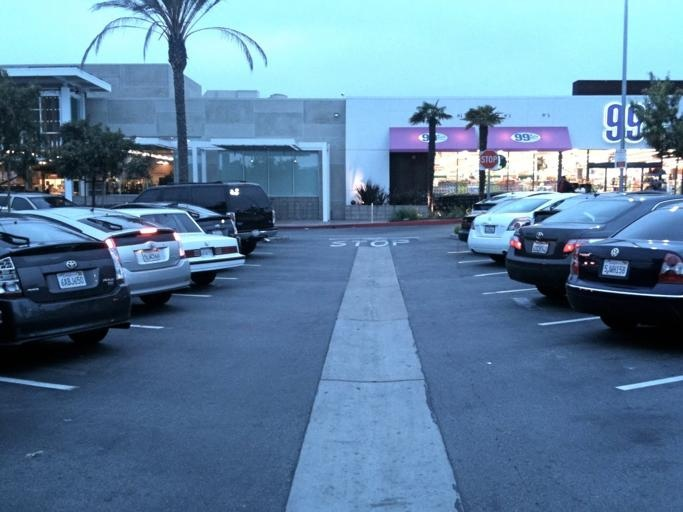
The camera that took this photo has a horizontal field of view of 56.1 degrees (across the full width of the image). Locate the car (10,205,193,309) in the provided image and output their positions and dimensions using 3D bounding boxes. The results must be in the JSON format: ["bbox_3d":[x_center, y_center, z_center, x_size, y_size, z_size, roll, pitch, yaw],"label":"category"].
[{"bbox_3d":[-4.281,-0.028,11.208,2.997,1.055,1.438,9,9,32],"label":"car"}]

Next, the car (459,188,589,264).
[{"bbox_3d":[4.840,-0.746,16.555,3.078,1.012,1.376,-10,9,-40],"label":"car"}]

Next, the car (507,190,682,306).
[{"bbox_3d":[4.518,-0.236,11.295,3.260,1.070,1.462,-10,8,-34],"label":"car"}]

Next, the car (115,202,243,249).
[{"bbox_3d":[-3.837,-0.495,16.021,3.135,1.076,1.508,8,9,40],"label":"car"}]

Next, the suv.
[{"bbox_3d":[-4.355,-1.254,20.026,4.387,1.801,2.068,5,6,26],"label":"suv"}]

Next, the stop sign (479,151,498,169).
[{"bbox_3d":[5.220,-3.405,22.694,0.558,0.643,0.885,-2,8,-5],"label":"stop sign"}]
